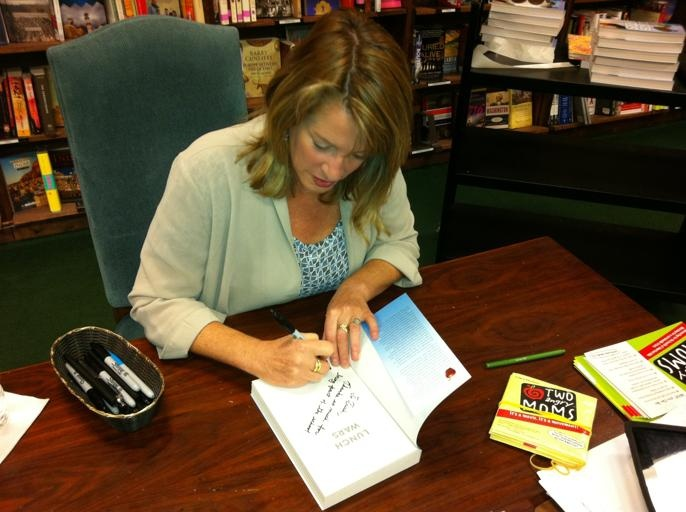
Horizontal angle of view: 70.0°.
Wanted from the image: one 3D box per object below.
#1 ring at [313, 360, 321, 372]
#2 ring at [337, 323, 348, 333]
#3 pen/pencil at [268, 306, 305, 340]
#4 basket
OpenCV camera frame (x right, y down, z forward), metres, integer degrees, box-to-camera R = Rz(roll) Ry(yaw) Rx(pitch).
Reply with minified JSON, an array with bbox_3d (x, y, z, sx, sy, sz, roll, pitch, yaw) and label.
[{"bbox_3d":[-0.060,0.252,1.126,0.009,0.022,0.017,6,1,4],"label":"ring"},{"bbox_3d":[0.001,0.181,1.245,0.018,0.005,0.018,11,23,-5],"label":"ring"},{"bbox_3d":[-0.151,0.175,1.271,0.017,0.124,0.018,-57,29,-7],"label":"pen/pencil"},{"bbox_3d":[-0.560,0.292,1.156,0.286,0.085,0.185,36,50,28],"label":"basket"}]
